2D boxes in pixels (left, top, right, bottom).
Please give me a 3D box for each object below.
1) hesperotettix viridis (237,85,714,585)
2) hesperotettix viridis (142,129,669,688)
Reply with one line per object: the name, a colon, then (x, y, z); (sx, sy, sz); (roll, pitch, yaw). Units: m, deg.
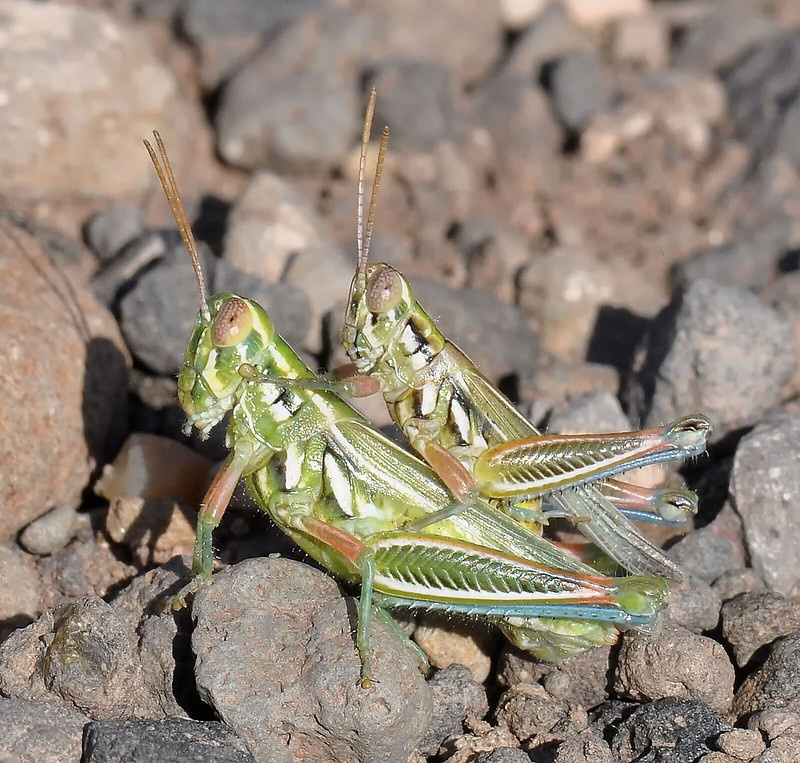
hesperotettix viridis: (0.330, -0.074, 3.962); (1.295, 1.126, 1.738); (-5, 93, -46)
hesperotettix viridis: (-0.122, 0.454, 3.621); (1.692, 0.787, 0.636); (31, 57, 11)
